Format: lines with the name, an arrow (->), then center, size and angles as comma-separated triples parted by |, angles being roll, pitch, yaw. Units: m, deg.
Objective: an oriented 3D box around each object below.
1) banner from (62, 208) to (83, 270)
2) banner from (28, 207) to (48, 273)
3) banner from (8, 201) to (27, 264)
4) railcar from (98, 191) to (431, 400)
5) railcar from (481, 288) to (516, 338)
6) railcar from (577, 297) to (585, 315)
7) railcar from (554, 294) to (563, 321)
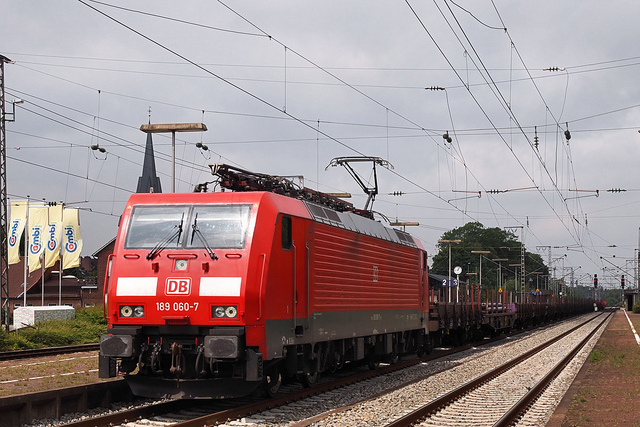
banner -> -15.879, 1.456, 43.964 | 1.107, 3.797, 2.106 | -2, -8, -21
banner -> -16.583, 1.436, 40.573 | 1.140, 3.868, 1.287 | -2, -8, -23
banner -> -17.579, 0.939, 40.139 | 1.025, 3.825, 2.049 | -2, -8, -22
railcar -> -0.588, 2.436, 22.493 | 4.469, 4.683, 14.800 | -2, -6, 22
railcar -> 11.499, 6.233, 41.468 | 1.762, 3.232, 7.036 | -3, -7, 22
railcar -> 41.200, 14.772, 109.044 | 0.998, 2.638, 16.120 | -7, -8, 20
railcar -> 25.809, 10.285, 74.866 | 0.782, 2.559, 8.056 | -8, -8, 21
